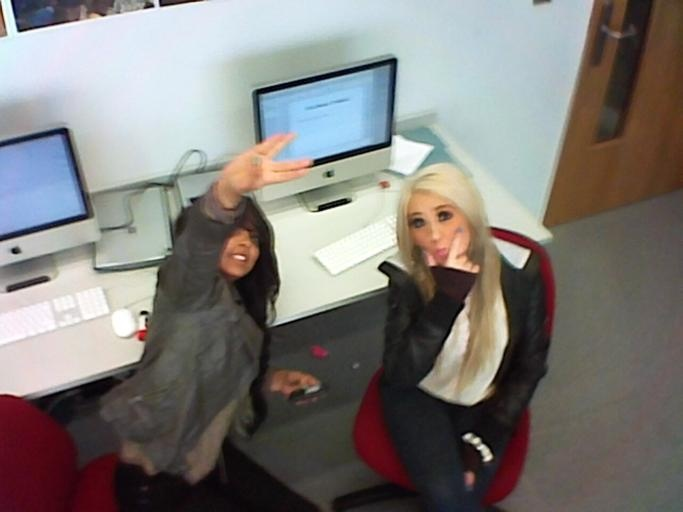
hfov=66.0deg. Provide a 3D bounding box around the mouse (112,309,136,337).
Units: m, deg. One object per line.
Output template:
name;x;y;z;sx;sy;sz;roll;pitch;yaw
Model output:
mouse;-0.515;0.155;1.231;0.050;0.017;0.067;-11;64;-6

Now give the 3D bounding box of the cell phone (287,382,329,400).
cell phone;-0.068;0.277;1.066;0.068;0.019;0.038;-16;23;8

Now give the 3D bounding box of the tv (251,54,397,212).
tv;-0.033;-0.265;1.185;0.331;0.326;0.122;-20;54;-14

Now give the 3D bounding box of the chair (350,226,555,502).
chair;0.198;0.203;1.135;0.350;0.427;0.505;25;74;15
